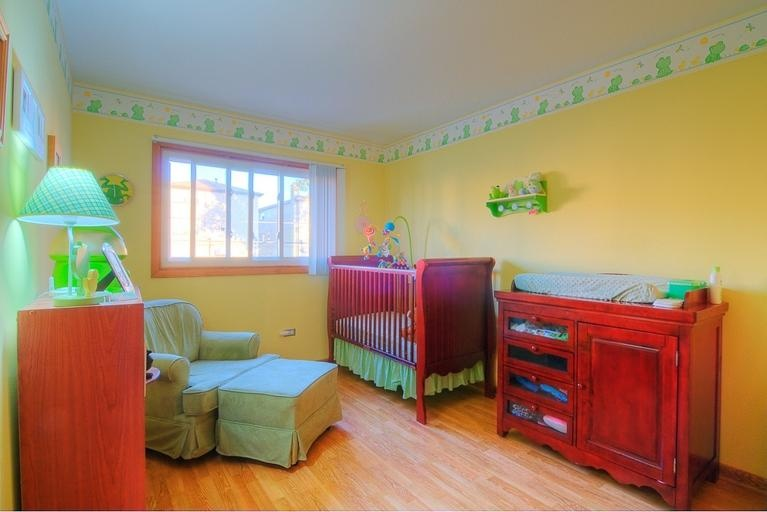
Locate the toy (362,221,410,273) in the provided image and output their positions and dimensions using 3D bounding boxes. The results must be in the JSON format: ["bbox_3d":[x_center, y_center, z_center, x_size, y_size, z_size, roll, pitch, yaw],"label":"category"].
[{"bbox_3d":[0.019,-0.077,5.280,0.544,0.509,0.320,3,-9,-36],"label":"toy"}]

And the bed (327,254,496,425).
[{"bbox_3d":[0.196,0.616,4.922,0.923,1.212,1.608,-2,4,-36],"label":"bed"}]

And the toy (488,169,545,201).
[{"bbox_3d":[1.152,-0.601,4.389,0.490,0.227,0.141,4,4,44],"label":"toy"}]

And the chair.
[{"bbox_3d":[-1.547,0.909,3.982,1.086,0.938,0.967,5,5,33],"label":"chair"}]

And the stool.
[{"bbox_3d":[-0.777,1.175,3.822,0.743,0.610,0.642,2,3,14],"label":"stool"}]

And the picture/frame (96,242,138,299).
[{"bbox_3d":[-1.492,0.093,3.015,0.329,0.349,0.268,0,3,-18],"label":"picture/frame"}]

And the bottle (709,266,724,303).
[{"bbox_3d":[2.243,0.200,3.419,0.077,0.242,0.218,4,4,33],"label":"bottle"}]

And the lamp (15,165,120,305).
[{"bbox_3d":[-1.689,-0.120,2.700,0.337,0.695,0.368,4,4,40],"label":"lamp"}]
